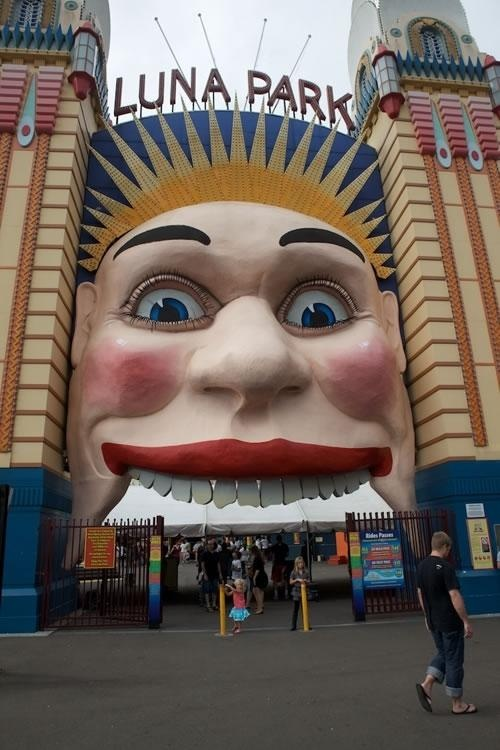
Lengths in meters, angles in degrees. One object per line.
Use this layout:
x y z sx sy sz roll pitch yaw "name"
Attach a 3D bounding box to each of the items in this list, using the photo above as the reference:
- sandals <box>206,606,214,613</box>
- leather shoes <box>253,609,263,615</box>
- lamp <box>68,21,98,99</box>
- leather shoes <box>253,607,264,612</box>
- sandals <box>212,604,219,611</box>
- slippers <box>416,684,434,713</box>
-0.830 4.845 10.570 0.150 0.071 0.207 3 -16 -6 "sandals"
0.145 4.757 10.274 0.108 0.141 0.198 -23 -35 39 "leather shoes"
-3.569 -6.621 10.911 0.553 1.749 0.583 6 -21 -27 "lamp"
0.161 4.758 10.348 0.151 0.117 0.288 -1 -26 -2 "leather shoes"
-0.740 4.920 10.830 0.109 0.115 0.147 1 -23 -6 "sandals"
1.200 2.224 3.529 0.074 0.179 0.256 -8 -19 14 "slippers"
